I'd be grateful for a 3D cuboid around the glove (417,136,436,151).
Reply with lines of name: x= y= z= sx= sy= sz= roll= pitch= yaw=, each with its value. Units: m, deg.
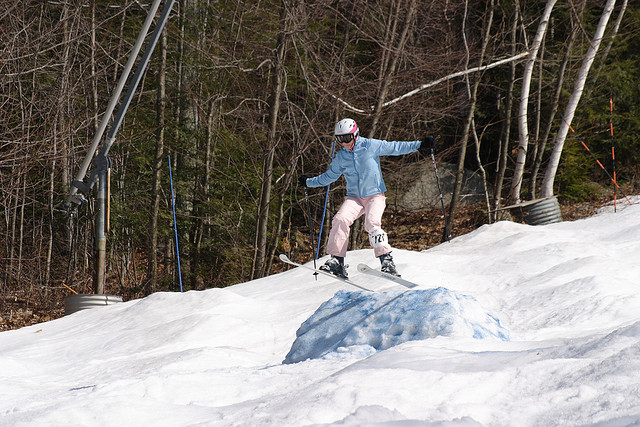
glove: x=2.179 y=-1.435 z=14.567 sx=0.209 sy=0.272 sz=0.119 roll=2 pitch=-9 yaw=13
